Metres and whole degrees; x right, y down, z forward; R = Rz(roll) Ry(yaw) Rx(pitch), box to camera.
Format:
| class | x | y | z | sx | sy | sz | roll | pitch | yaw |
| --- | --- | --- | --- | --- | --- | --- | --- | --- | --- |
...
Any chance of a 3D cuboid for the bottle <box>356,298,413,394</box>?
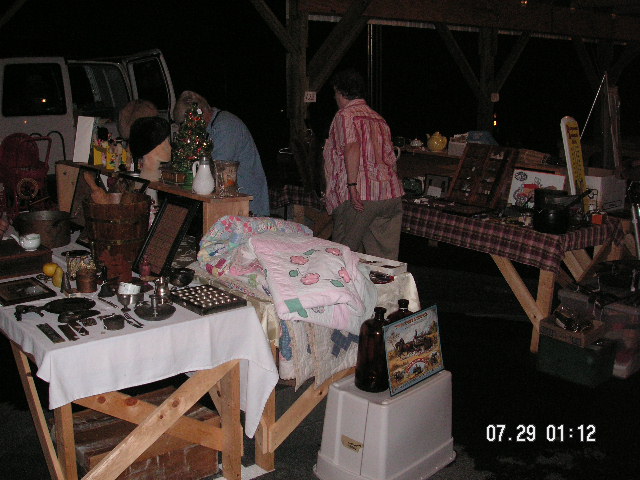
| class | x | y | z | sx | sy | sz | roll | pitch | yaw |
| --- | --- | --- | --- | --- | --- | --- | --- | --- | --- |
| bottle | 0.259 | 0.500 | 2.568 | 0.168 | 0.409 | 0.207 | 9 | 16 | 30 |

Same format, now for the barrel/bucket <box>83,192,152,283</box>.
| class | x | y | z | sx | sy | sz | roll | pitch | yaw |
| --- | --- | --- | --- | --- | --- | --- | --- | --- | --- |
| barrel/bucket | -1.057 | -0.027 | 2.826 | 0.356 | 0.465 | 0.387 | 1 | 7 | 0 |

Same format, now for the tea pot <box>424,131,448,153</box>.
| class | x | y | z | sx | sy | sz | roll | pitch | yaw |
| --- | --- | --- | --- | --- | --- | --- | --- | --- | --- |
| tea pot | 1.333 | -1.132 | 6.220 | 0.232 | 0.243 | 0.217 | 2 | 24 | -1 |

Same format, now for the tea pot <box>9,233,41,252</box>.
| class | x | y | z | sx | sy | sz | roll | pitch | yaw |
| --- | --- | --- | --- | --- | --- | --- | --- | --- | --- |
| tea pot | -1.622 | 0.006 | 2.857 | 0.131 | 0.096 | 0.098 | 4 | 5 | 25 |

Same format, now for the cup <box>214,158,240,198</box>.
| class | x | y | z | sx | sy | sz | roll | pitch | yaw |
| --- | --- | --- | --- | --- | --- | --- | --- | --- | --- |
| cup | -0.528 | -0.339 | 2.942 | 0.152 | 0.221 | 0.152 | 2 | 14 | -1 |
